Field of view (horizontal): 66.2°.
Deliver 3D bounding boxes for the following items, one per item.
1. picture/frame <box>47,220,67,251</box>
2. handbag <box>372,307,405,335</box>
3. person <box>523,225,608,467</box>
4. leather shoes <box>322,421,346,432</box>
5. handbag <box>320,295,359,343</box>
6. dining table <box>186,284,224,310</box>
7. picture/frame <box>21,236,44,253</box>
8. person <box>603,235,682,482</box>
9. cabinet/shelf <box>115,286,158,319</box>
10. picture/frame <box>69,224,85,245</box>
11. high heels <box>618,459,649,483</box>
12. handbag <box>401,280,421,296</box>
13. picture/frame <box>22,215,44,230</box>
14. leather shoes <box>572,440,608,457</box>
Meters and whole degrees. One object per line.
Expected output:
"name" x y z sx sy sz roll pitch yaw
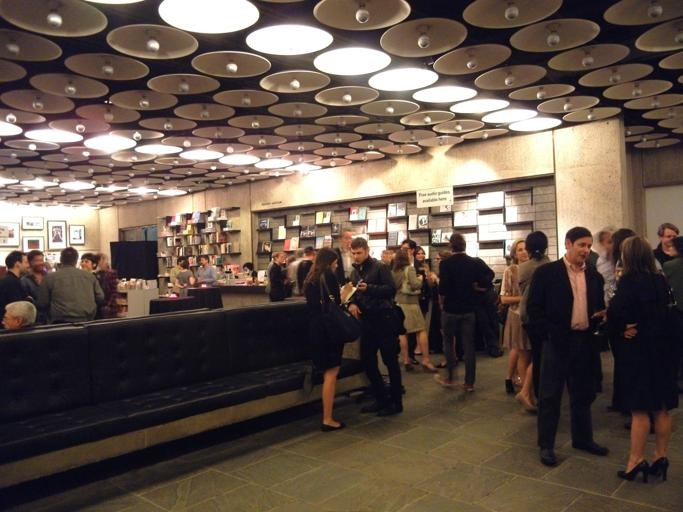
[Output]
"picture/frame" -10.602 -0.775 19.533 0.793 1.053 0.368 -8 10 -36
"handbag" 0.488 0.699 5.658 0.296 0.256 0.157 12 -24 -17
"person" 1.980 0.892 4.555 0.680 1.738 0.360 -5 9 -16
"leather shoes" -0.077 1.732 5.349 0.250 0.077 0.083 -1 -1 -22
"handbag" -0.035 0.644 5.258 0.240 0.437 0.466 -30 -24 19
"dining table" -2.993 0.905 11.513 0.798 0.403 0.714 1 -3 -14
"picture/frame" -10.341 -0.396 17.436 0.069 0.558 0.885 -9 -8 37
"person" 2.468 0.815 4.218 0.566 1.929 0.474 -1 8 9
"cabinet/shelf" -4.128 0.917 10.579 1.115 0.644 0.561 -4 -6 33
"picture/frame" -10.123 -0.791 20.060 0.637 0.784 0.200 -8 10 -39
"high heels" 2.362 1.700 4.220 0.226 0.175 0.153 2 8 27
"handbag" 1.014 0.453 7.458 0.292 0.225 0.220 1 2 -16
"picture/frame" -11.236 -1.223 18.961 0.679 0.480 0.233 1 0 -43
"leather shoes" 2.227 1.699 4.664 0.105 0.110 0.307 3 -7 -44
